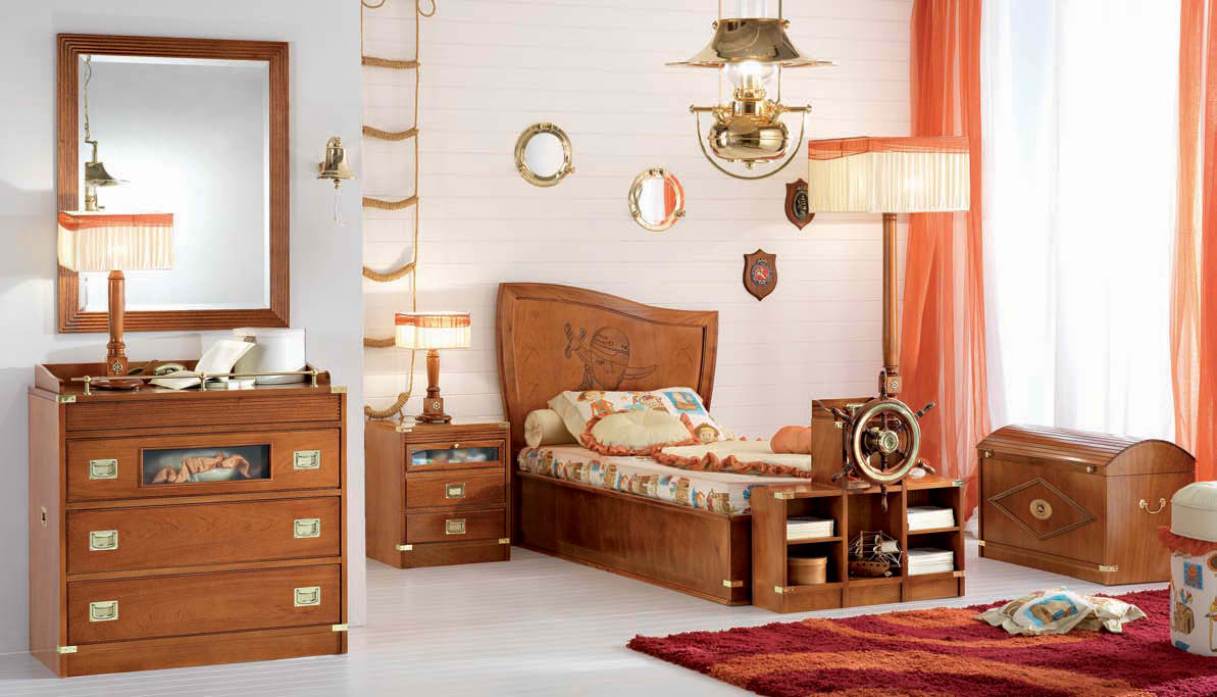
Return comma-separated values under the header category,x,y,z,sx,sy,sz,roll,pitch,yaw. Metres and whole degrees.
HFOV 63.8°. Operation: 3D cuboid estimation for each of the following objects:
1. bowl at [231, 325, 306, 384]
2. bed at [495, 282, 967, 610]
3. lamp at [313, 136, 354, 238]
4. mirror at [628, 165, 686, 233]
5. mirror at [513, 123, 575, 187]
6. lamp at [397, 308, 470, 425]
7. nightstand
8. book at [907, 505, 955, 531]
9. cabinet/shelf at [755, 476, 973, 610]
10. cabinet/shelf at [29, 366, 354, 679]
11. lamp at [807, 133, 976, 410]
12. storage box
category,x,y,z,sx,sy,sz,roll,pitch,yaw
bowl,-1.863,0.037,5.195,0.278,0.235,0.355,11,2,25
bed,0.723,0.560,6.800,2.001,1.660,2.932,-1,4,-34
lamp,-1.542,-0.931,5.465,0.196,0.504,0.132,-2,5,-15
mirror,0.383,-1.157,7.628,0.510,0.444,0.145,3,1,-22
mirror,-0.493,-1.457,7.403,0.462,0.473,0.060,-3,5,-20
lamp,-1.275,0.135,7.016,0.449,0.778,0.466,-3,5,-26
nightstand,-1.366,1.055,7.161,1.046,0.937,0.921,4,-8,-37
book,1.977,1.050,5.978,0.195,0.061,0.177,0,-1,-3
cabinet/shelf,1.550,1.202,5.946,1.271,0.594,0.363,-1,-5,-14
cabinet/shelf,-2.137,0.891,4.917,1.757,1.468,0.948,-1,-1,-19
lamp,1.812,-0.593,6.412,0.941,1.680,1.486,0,5,11
storage box,3.307,1.006,6.684,0.881,0.913,1.326,-3,-2,-17
